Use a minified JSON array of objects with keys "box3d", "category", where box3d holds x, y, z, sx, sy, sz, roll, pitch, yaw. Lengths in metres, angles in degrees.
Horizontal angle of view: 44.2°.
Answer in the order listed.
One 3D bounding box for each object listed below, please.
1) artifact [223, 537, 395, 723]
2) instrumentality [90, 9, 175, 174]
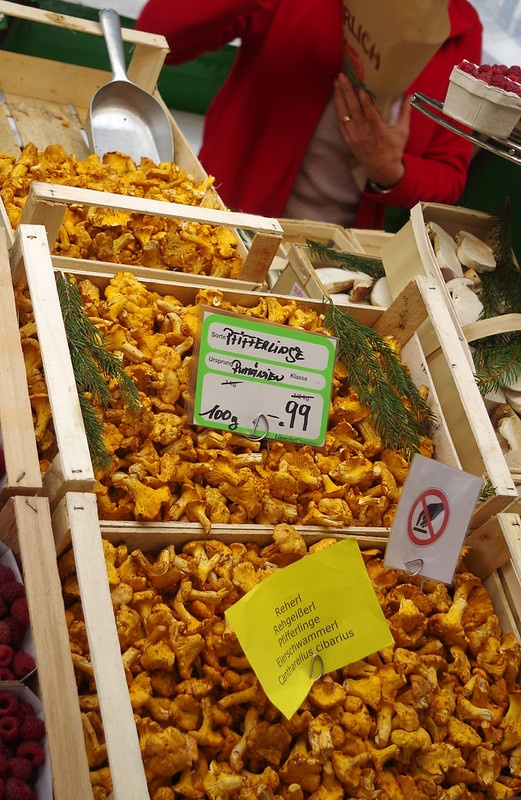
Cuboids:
[{"box3d":[0.072,0.406,1.156,0.266,0.082,0.340,51,51,3],"category":"artifact"},{"box3d":[-0.496,-1.009,2.333,0.318,0.624,0.096,-17,10,-39],"category":"instrumentality"}]
